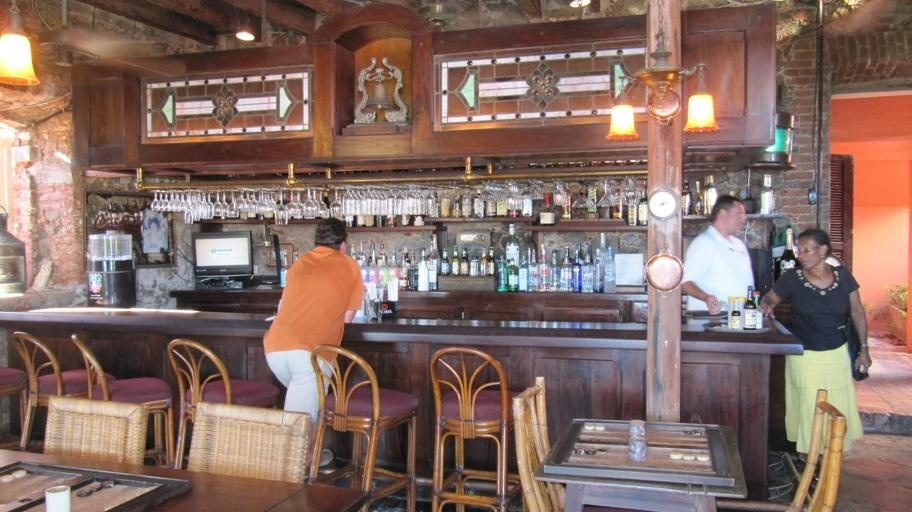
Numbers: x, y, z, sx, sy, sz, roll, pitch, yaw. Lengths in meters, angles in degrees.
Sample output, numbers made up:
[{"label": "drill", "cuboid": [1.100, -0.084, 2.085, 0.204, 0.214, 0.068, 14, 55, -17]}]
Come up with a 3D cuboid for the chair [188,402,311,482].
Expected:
[{"label": "chair", "cuboid": [-1.594, 1.476, 5.888, 0.950, 0.740, 0.679, 4, -5, 6]}]

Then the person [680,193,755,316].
[{"label": "person", "cuboid": [2.795, -0.020, 7.669, 0.672, 1.261, 1.042, 0, 1, 20]}]

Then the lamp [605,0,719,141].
[{"label": "lamp", "cuboid": [1.884, -1.669, 6.532, 0.990, 1.087, 1.507, 0, 1, 12]}]

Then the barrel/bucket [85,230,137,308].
[{"label": "barrel/bucket", "cuboid": [-4.359, 0.149, 9.054, 0.523, 0.960, 0.727, -1, 1, -26]}]

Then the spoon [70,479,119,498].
[{"label": "spoon", "cuboid": [-2.607, 1.682, 5.203, 0.261, 0.084, 0.109, -1, 1, -22]}]

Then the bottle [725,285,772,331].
[{"label": "bottle", "cuboid": [2.862, 0.506, 7.081, 0.326, 0.414, 0.547, 0, 1, 24]}]

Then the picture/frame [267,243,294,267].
[{"label": "picture/frame", "cuboid": [-2.543, -0.016, 10.464, 0.433, 0.339, 0.037, 1, -2, 0]}]
